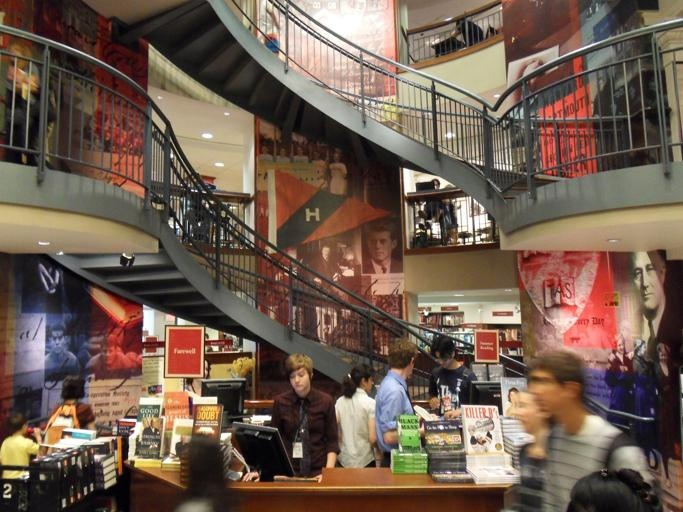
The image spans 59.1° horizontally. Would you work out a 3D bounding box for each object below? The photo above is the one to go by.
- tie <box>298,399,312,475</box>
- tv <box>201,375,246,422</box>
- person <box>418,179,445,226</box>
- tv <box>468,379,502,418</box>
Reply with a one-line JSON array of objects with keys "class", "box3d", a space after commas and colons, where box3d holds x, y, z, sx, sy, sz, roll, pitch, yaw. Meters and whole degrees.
[{"class": "tie", "box3d": [-0.369, 1.823, 6.070, 0.107, 0.722, 0.091, -2, -7, -1]}, {"class": "tv", "box3d": [-1.362, 1.649, 6.954, 0.610, 0.691, 0.348, 1, -1, -10]}, {"class": "person", "box3d": [1.923, -1.194, 13.033, 0.555, 0.923, 0.311, -4, -7, 15]}, {"class": "tv", "box3d": [1.555, 1.542, 6.566, 0.344, 0.396, 0.264, -1, -13, 6]}]
